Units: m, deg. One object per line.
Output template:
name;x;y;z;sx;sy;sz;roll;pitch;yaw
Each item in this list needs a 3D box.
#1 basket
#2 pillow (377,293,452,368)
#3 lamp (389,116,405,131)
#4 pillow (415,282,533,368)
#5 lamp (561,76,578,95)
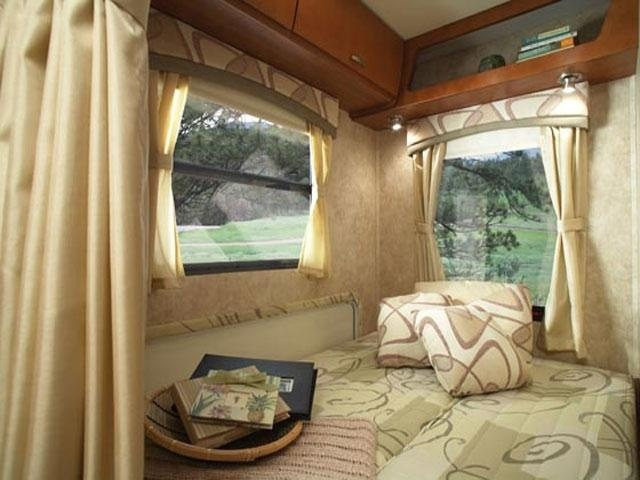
basket;-0.362;0.675;1.616;0.570;0.213;0.324;1;7;5
pillow;0.497;0.501;2.426;0.389;0.391;0.193;3;-44;14
lamp;0.537;-0.816;3.158;0.092;0.067;0.091;-1;2;-19
pillow;0.776;0.450;2.255;0.396;0.121;0.383;4;9;30
lamp;1.381;-0.863;2.503;0.078;0.057;0.080;3;4;40
